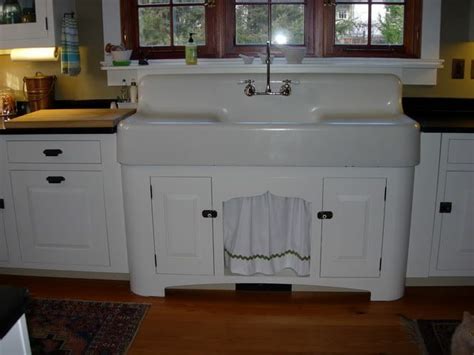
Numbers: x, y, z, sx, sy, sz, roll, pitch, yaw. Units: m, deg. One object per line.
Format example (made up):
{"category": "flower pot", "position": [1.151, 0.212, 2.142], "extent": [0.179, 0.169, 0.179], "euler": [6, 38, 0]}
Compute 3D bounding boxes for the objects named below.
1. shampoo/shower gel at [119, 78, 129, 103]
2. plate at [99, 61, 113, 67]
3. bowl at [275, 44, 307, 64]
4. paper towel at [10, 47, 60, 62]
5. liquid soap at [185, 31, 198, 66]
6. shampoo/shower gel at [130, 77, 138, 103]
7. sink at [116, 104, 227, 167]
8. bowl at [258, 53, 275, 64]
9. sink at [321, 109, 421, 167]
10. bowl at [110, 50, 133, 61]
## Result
{"category": "shampoo/shower gel", "position": [-0.771, -0.592, 2.806], "extent": [0.075, 0.153, 0.192], "euler": [-6, 18, -17]}
{"category": "plate", "position": [-0.889, -0.767, 2.802], "extent": [0.079, 0.032, 0.174], "euler": [-6, 18, -17]}
{"category": "bowl", "position": [0.350, -0.766, 2.585], "extent": [0.127, 0.096, 0.152], "euler": [-1, 11, -7]}
{"category": "paper towel", "position": [-1.384, -0.837, 2.819], "extent": [0.323, 0.082, 0.161], "euler": [-5, 17, -14]}
{"category": "liquid soap", "position": [-0.310, -0.856, 2.752], "extent": [0.081, 0.204, 0.246], "euler": [-3, 17, -6]}
{"category": "shampoo/shower gel", "position": [-0.691, -0.576, 2.752], "extent": [0.051, 0.155, 0.096], "euler": [-5, 17, -13]}
{"category": "sink", "position": [-0.372, -0.228, 2.263], "extent": [0.511, 0.232, 0.426], "euler": [-1, 17, -1]}
{"category": "bowl", "position": [0.191, -0.746, 2.651], "extent": [0.093, 0.078, 0.119], "euler": [0, 15, 0]}
{"category": "sink", "position": [0.661, -0.209, 2.194], "extent": [0.542, 0.239, 0.424], "euler": [2, 17, 8]}
{"category": "bowl", "position": [-0.757, -0.786, 2.736], "extent": [0.093, 0.053, 0.092], "euler": [-1, 6, 0]}
